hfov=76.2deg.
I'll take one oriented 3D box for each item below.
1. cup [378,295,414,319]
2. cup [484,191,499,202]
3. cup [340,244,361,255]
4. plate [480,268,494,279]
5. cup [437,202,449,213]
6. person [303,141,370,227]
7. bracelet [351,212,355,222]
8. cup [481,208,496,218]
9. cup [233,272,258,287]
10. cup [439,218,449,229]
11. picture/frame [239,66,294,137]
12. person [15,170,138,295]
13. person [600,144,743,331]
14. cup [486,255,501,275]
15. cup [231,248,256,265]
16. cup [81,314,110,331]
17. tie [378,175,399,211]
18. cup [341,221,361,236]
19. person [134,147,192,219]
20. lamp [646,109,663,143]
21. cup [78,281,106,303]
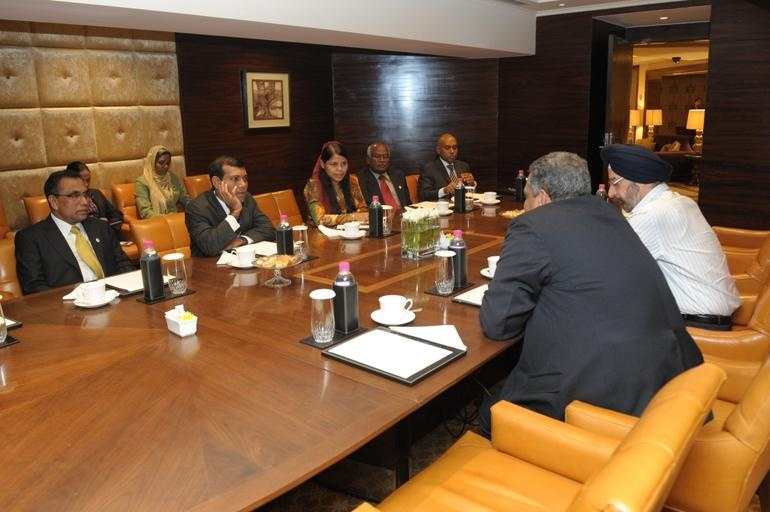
[{"bbox_3d":[0.068,0.244,2.398,0.102,0.066,0.141,-2,-3,38],"label":"cup"},{"bbox_3d":[1.081,-0.632,5.048,0.144,0.110,0.144,-3,-2,0],"label":"cup"},{"bbox_3d":[-0.250,-0.056,3.588,0.109,0.062,0.106,-1,4,0],"label":"cup"},{"bbox_3d":[0.614,0.099,2.961,0.070,0.014,0.070,11,22,34],"label":"plate"},{"bbox_3d":[0.529,-0.450,4.503,0.107,0.075,0.102,-1,7,0],"label":"cup"},{"bbox_3d":[-0.474,-0.593,4.609,0.590,0.889,0.690,11,19,35],"label":"person"},{"bbox_3d":[-0.277,-0.348,4.280,0.027,0.070,0.057,10,-4,-40],"label":"bracelet"},{"bbox_3d":[0.988,-0.433,4.708,0.147,0.102,0.143,0,-2,0],"label":"cup"},{"bbox_3d":[-0.846,0.139,2.992,0.126,0.084,0.099,3,7,32],"label":"cup"},{"bbox_3d":[0.511,-0.288,4.253,0.109,0.075,0.105,-3,12,1],"label":"cup"},{"bbox_3d":[-1.649,-2.187,6.886,0.067,0.861,0.888,18,26,29],"label":"picture/frame"},{"bbox_3d":[-2.136,-0.136,3.432,0.633,0.824,0.756,25,23,31],"label":"person"},{"bbox_3d":[1.680,-0.098,3.129,0.847,1.276,0.646,-11,11,28],"label":"person"},{"bbox_3d":[0.629,0.049,2.887,0.100,0.091,0.121,-8,12,-29],"label":"cup"},{"bbox_3d":[-0.917,-0.006,3.218,0.129,0.094,0.101,5,16,28],"label":"cup"},{"bbox_3d":[-1.443,0.325,2.459,0.089,0.040,0.086,2,10,0],"label":"cup"},{"bbox_3d":[0.030,-0.669,5.228,0.286,0.357,0.111,-3,-6,-28],"label":"tie"},{"bbox_3d":[-0.258,-0.221,3.853,0.108,0.070,0.121,-1,0,14],"label":"cup"},{"bbox_3d":[-2.532,-0.762,5.789,0.803,0.980,0.777,-1,23,-20],"label":"person"},{"bbox_3d":[7.302,-3.631,13.535,0.489,0.779,0.479,7,19,29],"label":"lamp"},{"bbox_3d":[-1.556,0.191,2.638,0.141,0.096,0.111,-6,17,-21],"label":"cup"}]
